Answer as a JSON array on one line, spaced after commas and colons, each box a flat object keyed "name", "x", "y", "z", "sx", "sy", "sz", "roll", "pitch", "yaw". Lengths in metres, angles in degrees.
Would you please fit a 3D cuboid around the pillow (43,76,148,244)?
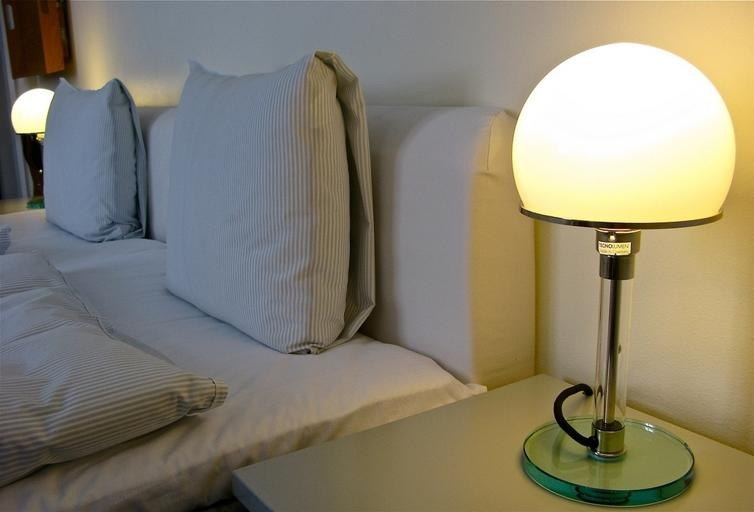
[{"name": "pillow", "x": -1.005, "y": -0.318, "z": 2.313, "sx": 0.186, "sy": 0.562, "sz": 0.580, "roll": -2, "pitch": -1, "yaw": -24}]

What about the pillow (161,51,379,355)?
[{"name": "pillow", "x": -0.308, "y": -0.147, "z": 1.375, "sx": 0.580, "sy": 0.613, "sz": 0.208, "roll": 13, "pitch": 12, "yaw": 42}]

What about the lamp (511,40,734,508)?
[{"name": "lamp", "x": 0.322, "y": 0.026, "z": 0.811, "sx": 0.237, "sy": 0.602, "sz": 0.187, "roll": -7, "pitch": 14, "yaw": -22}]
